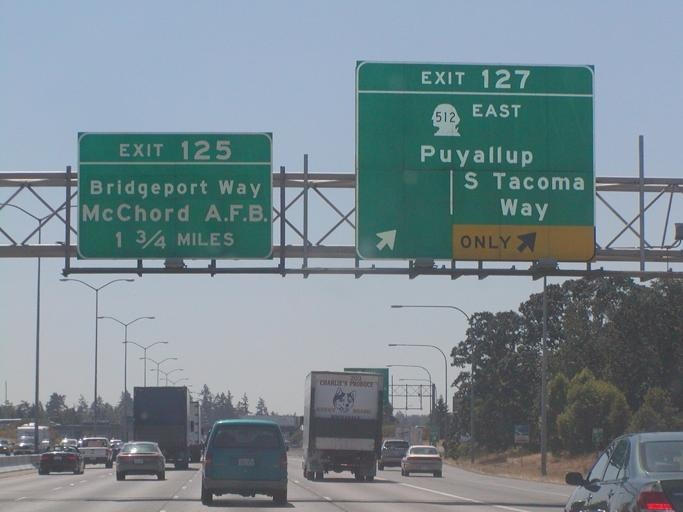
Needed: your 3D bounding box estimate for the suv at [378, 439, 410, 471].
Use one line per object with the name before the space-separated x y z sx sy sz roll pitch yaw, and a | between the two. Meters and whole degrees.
suv | 3.214 12.494 106.458 1.363 1.598 3.339 1 0 -2
